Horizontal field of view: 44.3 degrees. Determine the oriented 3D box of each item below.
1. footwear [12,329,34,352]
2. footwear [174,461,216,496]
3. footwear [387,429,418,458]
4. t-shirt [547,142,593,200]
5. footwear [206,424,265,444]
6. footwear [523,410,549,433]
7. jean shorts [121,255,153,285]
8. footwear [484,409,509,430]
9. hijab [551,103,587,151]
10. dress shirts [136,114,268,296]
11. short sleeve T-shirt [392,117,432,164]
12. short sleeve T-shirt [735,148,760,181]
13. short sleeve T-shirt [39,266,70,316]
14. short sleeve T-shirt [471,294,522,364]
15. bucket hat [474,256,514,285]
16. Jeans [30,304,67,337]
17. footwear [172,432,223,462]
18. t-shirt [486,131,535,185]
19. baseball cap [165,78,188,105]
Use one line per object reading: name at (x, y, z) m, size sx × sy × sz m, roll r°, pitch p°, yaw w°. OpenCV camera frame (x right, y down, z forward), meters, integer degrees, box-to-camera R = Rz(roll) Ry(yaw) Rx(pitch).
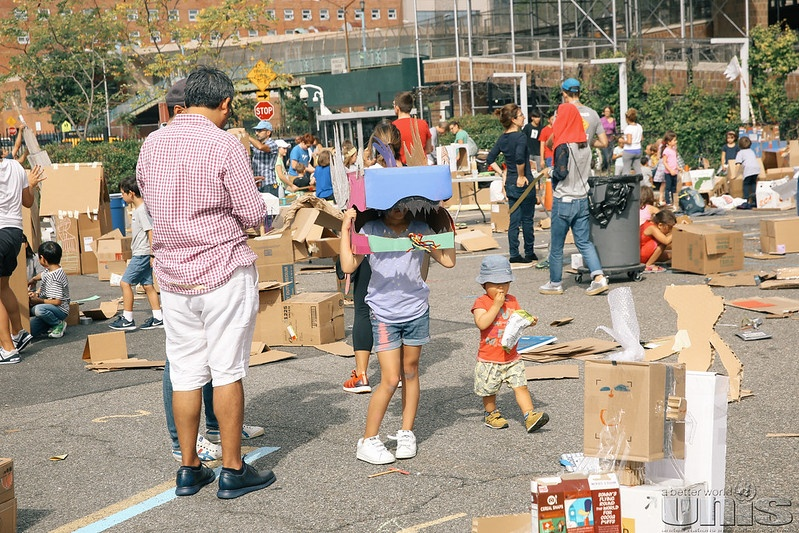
footwear at (-4.643, 0.898, 12.008) m, size 0.320 × 0.149 × 0.119 m, roll -30°, pitch 21°, yaw 52°
footwear at (-1.756, 1.795, 8.405) m, size 0.158 × 0.163 × 0.377 m, roll 1°, pitch 5°, yaw 23°
footwear at (0.024, 1.573, 8.720) m, size 0.197 × 0.149 × 0.335 m, roll -2°, pitch -9°, yaw 6°
t-shirt at (2.293, -1.321, 13.259) m, size 0.509 × 0.797 × 0.694 m, roll 7°, pitch 16°, yaw 40°
footwear at (-1.512, 1.542, 9.131) m, size 0.571 × 0.221 × 0.205 m, roll -3°, pitch 3°, yaw -7°
footwear at (1.242, 1.395, 8.904) m, size 0.256 × 0.160 × 0.126 m, roll -37°, pitch 10°, yaw 23°
jean shorts at (-3.497, 0.061, 13.033) m, size 0.217 × 0.364 × 0.315 m, roll 4°, pitch -22°, yaw 20°
footwear at (0.898, 1.420, 9.096) m, size 0.118 × 0.102 × 0.228 m, roll -2°, pitch 0°, yaw -37°
hijab at (2.294, -1.935, 13.228) m, size 0.498 × 0.557 × 0.414 m, roll -5°, pitch 13°, yaw -19°
dress shirts at (-1.668, -0.520, 8.159) m, size 1.043 × 1.417 × 0.528 m, roll -5°, pitch 15°, yaw -1°
short sleeve T-shirt at (0.222, -1.403, 11.575) m, size 0.628 × 0.591 × 0.352 m, roll -7°, pitch 13°, yaw -33°
short sleeve T-shirt at (7.509, -2.168, 21.028) m, size 0.483 × 0.225 × 0.612 m, roll -2°, pitch 48°, yaw 2°
short sleeve T-shirt at (-4.547, 0.328, 12.814) m, size 0.647 × 0.648 × 0.381 m, roll -3°, pitch -3°, yaw 38°
short sleeve T-shirt at (0.922, 0.575, 9.043) m, size 0.428 × 0.575 × 0.260 m, roll -9°, pitch 16°, yaw -16°
bucket hat at (0.917, 0.026, 9.018) m, size 0.266 × 0.153 × 0.280 m, roll 2°, pitch 11°, yaw 31°
Jeans at (-4.620, 0.693, 12.758) m, size 0.331 × 0.227 × 0.462 m, roll -21°, pitch -9°, yaw 27°
footwear at (-1.763, 1.614, 8.913) m, size 0.579 × 0.256 × 0.199 m, roll 1°, pitch 24°, yaw -4°
t-shirt at (1.762, -1.715, 15.413) m, size 0.482 × 0.715 × 0.758 m, roll -17°, pitch 13°, yaw -41°
baseball cap at (-1.968, -1.522, 8.619) m, size 0.198 × 0.153 × 0.284 m, roll 2°, pitch 18°, yaw 12°
